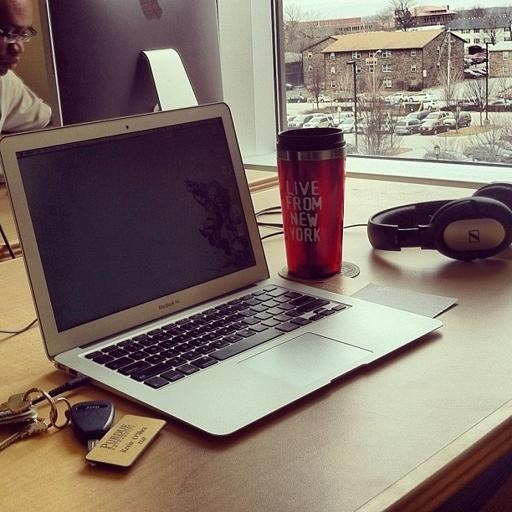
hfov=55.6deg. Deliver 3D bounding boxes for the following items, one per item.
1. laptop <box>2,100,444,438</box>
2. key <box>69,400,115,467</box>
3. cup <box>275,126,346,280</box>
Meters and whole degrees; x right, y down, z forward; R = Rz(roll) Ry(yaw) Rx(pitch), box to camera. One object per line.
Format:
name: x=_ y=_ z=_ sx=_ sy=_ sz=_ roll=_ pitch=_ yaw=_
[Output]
laptop: x=-0.070 y=0.008 z=0.604 sx=0.452 sy=0.267 sz=0.409 roll=-18 pitch=26 yaw=-41
key: x=-0.136 y=0.142 z=0.404 sx=0.049 sy=0.021 sz=0.054 roll=-10 pitch=26 yaw=-42
cup: x=0.071 y=-0.080 z=0.744 sx=0.136 sy=0.207 sz=0.153 roll=2 pitch=23 yaw=-1
